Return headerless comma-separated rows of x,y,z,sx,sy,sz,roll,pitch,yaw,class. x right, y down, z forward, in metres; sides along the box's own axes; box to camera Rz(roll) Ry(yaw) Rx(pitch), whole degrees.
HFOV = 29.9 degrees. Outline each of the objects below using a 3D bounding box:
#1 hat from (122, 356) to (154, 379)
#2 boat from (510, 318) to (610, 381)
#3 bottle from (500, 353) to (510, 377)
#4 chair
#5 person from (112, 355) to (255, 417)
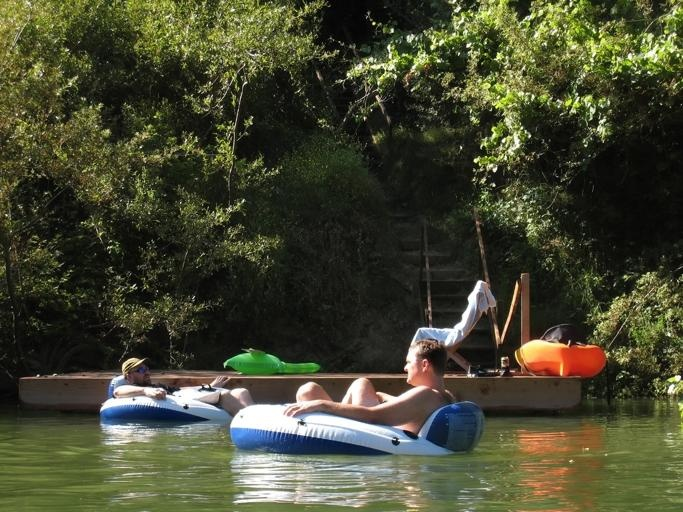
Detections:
-3.043,1.664,18.625,0.385,0.186,0.288,-31,-2,14,hat
3.376,1.544,20.082,1.291,0.782,1.137,4,-7,-19,boat
2.504,1.688,19.521,0.162,0.291,0.432,0,-4,8,bottle
1.742,1.026,19.607,1.343,1.397,0.733,3,-1,18,chair
-2.379,1.927,18.382,1.246,0.495,1.098,3,-7,6,person
